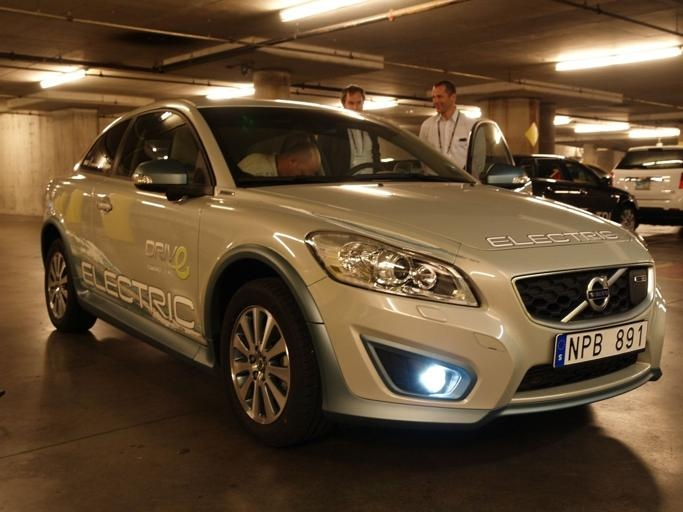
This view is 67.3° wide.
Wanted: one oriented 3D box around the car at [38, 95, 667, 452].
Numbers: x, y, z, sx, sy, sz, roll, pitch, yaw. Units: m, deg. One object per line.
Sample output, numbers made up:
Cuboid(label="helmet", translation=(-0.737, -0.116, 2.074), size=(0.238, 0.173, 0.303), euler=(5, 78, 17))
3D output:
Cuboid(label="car", translation=(-0.544, 0.021, 3.550), size=(2.000, 1.447, 4.053), euler=(-4, 9, -41))

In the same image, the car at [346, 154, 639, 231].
Cuboid(label="car", translation=(4.737, -1.616, 12.866), size=(5.492, 2.430, 2.524), euler=(-3, 8, -32))

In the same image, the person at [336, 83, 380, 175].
Cuboid(label="person", translation=(0.119, -0.891, 3.888), size=(0.320, 0.894, 0.223), euler=(-3, 44, 4))
